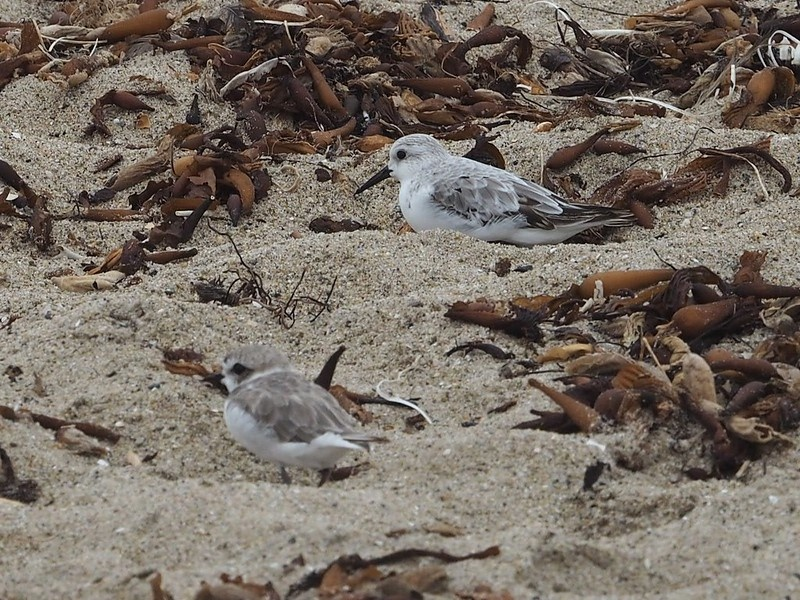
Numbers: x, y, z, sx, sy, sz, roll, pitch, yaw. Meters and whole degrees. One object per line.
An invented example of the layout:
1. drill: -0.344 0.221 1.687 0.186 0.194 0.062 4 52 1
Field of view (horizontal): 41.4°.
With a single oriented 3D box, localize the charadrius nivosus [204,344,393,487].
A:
1. charadrius nivosus: -0.479 0.580 5.215 1.128 0.645 0.582 6 6 43
